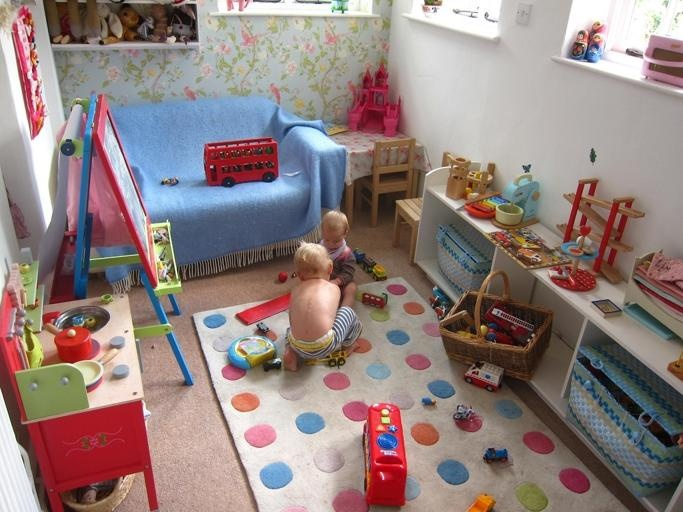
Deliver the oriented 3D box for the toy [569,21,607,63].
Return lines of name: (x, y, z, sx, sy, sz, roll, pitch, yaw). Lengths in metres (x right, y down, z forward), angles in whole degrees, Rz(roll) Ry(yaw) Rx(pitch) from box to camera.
toy: (1.248, -1.081, 2.523, 0.157, 0.185, 0.146, 16, 30, 23)

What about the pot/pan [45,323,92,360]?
pot/pan: (-1.036, 0.319, 1.893, 0.182, 0.084, 0.082, 8, 21, 40)

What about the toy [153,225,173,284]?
toy: (-0.897, 0.003, 2.494, 0.056, 0.037, 0.342, -5, 42, -16)

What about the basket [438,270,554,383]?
basket: (0.784, 0.299, 2.596, 0.491, 0.518, 0.367, 17, 44, 38)

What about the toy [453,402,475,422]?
toy: (0.581, 0.735, 2.376, 0.088, 0.039, 0.072, -6, 41, 3)

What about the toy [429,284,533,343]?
toy: (0.787, 0.350, 2.755, 0.368, 0.150, 0.228, 25, 58, 39)

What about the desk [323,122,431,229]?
desk: (0.362, -0.764, 4.132, 0.630, 0.600, 0.759, -8, 29, -6)

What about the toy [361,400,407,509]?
toy: (0.171, 0.833, 2.056, 0.120, 0.182, 0.322, 3, 37, -1)

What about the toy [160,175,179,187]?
toy: (-1.178, -0.504, 3.411, 0.073, 0.041, 0.101, 11, 18, 25)

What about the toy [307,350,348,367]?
toy: (-0.071, 0.553, 2.655, 0.162, 0.086, 0.084, -1, 35, -5)

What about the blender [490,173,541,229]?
blender: (0.992, -0.324, 2.816, 0.255, 0.282, 0.152, -15, 31, -24)

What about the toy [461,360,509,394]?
toy: (0.734, 0.612, 2.588, 0.176, 0.096, 0.116, 19, 49, 18)

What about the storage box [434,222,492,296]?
storage box: (0.824, 0.050, 3.137, 0.341, 0.336, 0.477, -7, 26, -15)

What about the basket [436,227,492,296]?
basket: (0.789, 0.041, 3.141, 0.291, 0.289, 0.410, -4, 30, -20)

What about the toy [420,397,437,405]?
toy: (0.427, 0.715, 2.452, 0.060, 0.028, 0.034, 1, 34, 4)

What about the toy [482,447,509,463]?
toy: (0.680, 0.883, 2.209, 0.094, 0.048, 0.057, -3, 33, 3)

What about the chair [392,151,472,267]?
chair: (0.607, -0.303, 3.328, 0.395, 0.752, 0.415, -10, 44, -17)

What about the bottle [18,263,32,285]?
bottle: (-1.248, 0.075, 1.966, 0.053, 0.080, 0.050, 5, 20, -2)
